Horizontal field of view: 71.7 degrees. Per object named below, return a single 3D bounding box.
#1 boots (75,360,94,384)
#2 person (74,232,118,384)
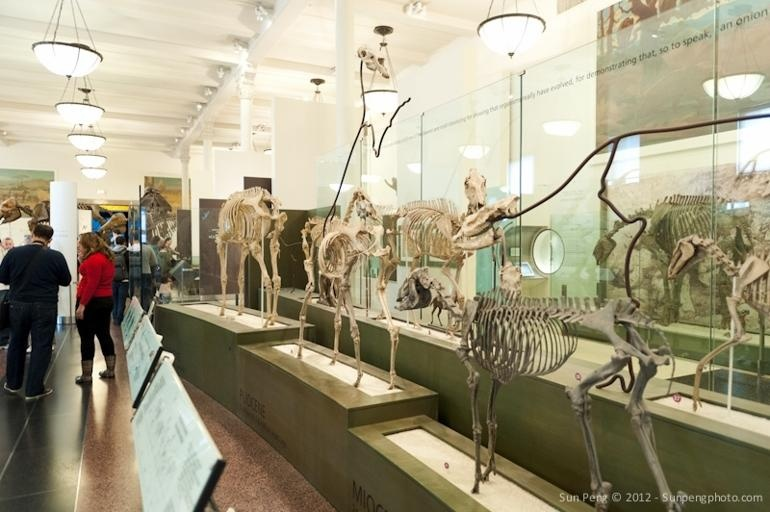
[{"bbox_3d":[-4.152,1.603,7.372,0.205,0.408,0.317,0,5,-38],"label":"boots"},{"bbox_3d":[-3.976,0.715,7.286,0.463,2.066,0.474,-1,2,-31],"label":"person"}]
